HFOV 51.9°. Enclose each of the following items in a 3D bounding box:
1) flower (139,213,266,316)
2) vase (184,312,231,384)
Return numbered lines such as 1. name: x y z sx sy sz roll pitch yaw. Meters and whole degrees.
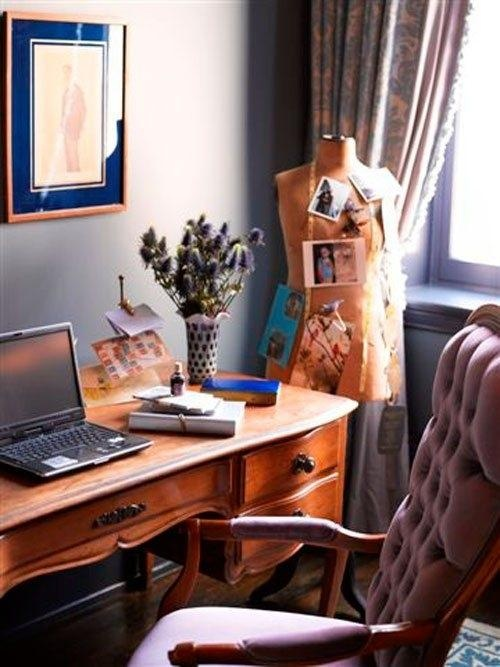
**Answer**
1. flower: -0.142 -0.186 1.458 0.329 0.358 0.316 8 7 42
2. vase: -0.136 0.033 1.457 0.126 0.194 0.138 -2 12 -24
